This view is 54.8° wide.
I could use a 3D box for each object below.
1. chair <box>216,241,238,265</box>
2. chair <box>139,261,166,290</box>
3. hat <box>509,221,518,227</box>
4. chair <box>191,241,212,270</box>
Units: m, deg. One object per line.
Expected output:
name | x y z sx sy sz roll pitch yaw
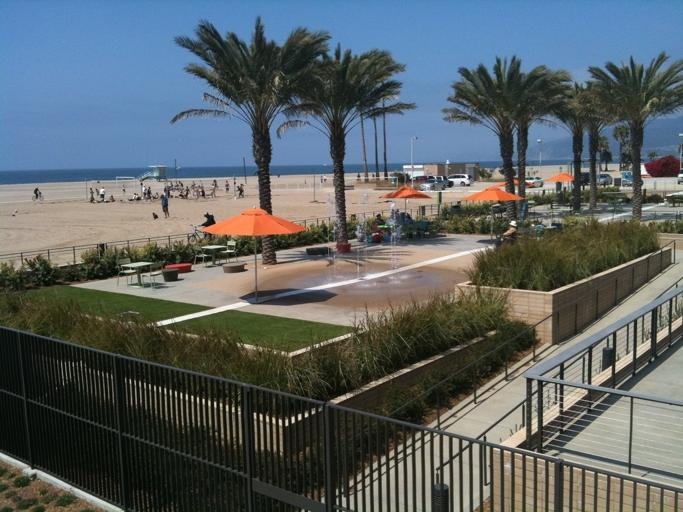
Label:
chair | -4.880 -0.209 28.391 0.750 1.280 0.901 3 6 13
chair | -6.820 0.715 23.783 0.764 1.239 0.720 8 10 31
hat | 8.482 -1.631 32.725 0.558 0.209 0.574 4 16 37
chair | -5.874 -0.096 27.582 0.724 1.325 0.856 -1 7 1
